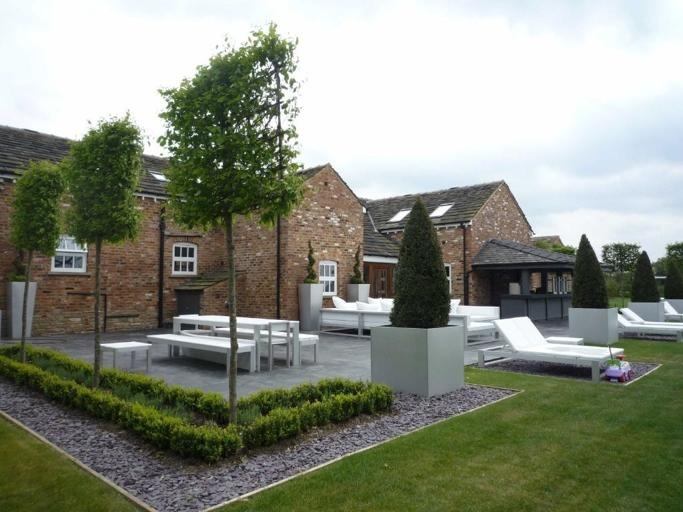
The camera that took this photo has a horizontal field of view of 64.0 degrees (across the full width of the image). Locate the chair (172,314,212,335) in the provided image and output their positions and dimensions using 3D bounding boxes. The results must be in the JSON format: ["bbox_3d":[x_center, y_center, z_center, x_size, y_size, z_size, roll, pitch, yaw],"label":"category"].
[{"bbox_3d":[-3.771,1.756,13.816,0.773,0.529,0.418,0,2,42],"label":"chair"}]
